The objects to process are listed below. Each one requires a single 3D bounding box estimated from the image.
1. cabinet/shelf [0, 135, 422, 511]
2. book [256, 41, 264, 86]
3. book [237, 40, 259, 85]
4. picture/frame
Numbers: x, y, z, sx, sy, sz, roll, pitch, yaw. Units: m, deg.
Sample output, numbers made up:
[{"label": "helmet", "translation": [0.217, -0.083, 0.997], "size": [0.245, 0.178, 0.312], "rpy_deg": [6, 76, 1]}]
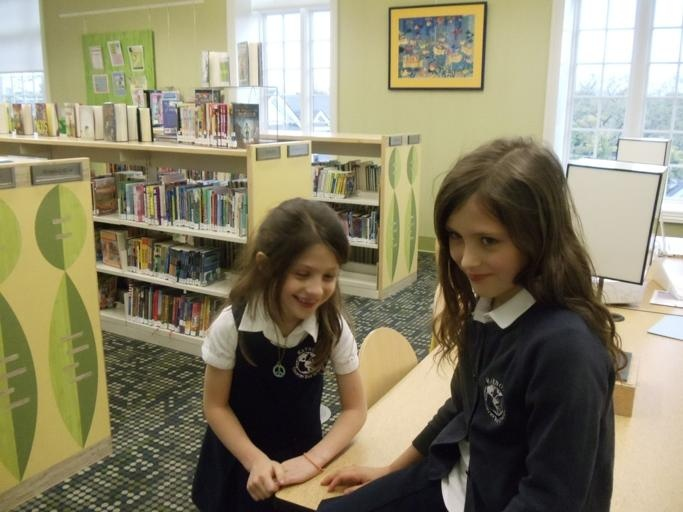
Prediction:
[{"label": "cabinet/shelf", "translation": [-1.227, 0.218, 3.489], "size": [2.153, 1.486, 2.236], "rpy_deg": [4, 7, 34]}, {"label": "book", "translation": [-0.658, -1.512, 4.187], "size": [0.045, 0.320, 0.107], "rpy_deg": [-3, 15, -5]}, {"label": "book", "translation": [-0.769, -1.526, 4.226], "size": [0.274, 0.329, 0.106], "rpy_deg": [11, 20, 39]}, {"label": "picture/frame", "translation": [1.158, -2.462, 6.161], "size": [1.007, 0.847, 0.023], "rpy_deg": [7, 15, 29]}]
